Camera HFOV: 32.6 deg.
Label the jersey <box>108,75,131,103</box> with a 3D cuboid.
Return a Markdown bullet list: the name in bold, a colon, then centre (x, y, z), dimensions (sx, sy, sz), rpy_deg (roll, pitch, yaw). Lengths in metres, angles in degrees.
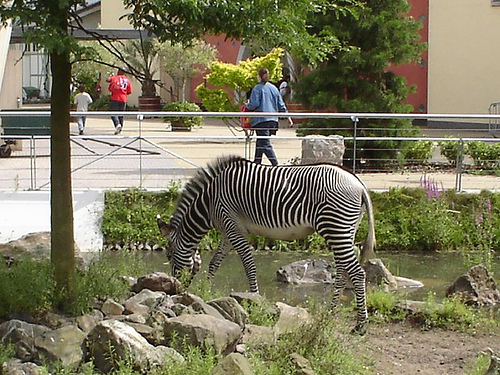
- **jersey**: centre (-3.390, -2.582, 22.603), dimensions (0.549, 0.744, 0.417), rpy_deg (6, -4, -16)

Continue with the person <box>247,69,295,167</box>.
- **person**: centre (0.365, -1.260, 14.963), dimensions (0.704, 1.813, 0.769), rpy_deg (-5, 19, -44)

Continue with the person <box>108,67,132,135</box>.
- **person**: centre (-3.467, -2.317, 22.607), dimensions (0.541, 1.798, 0.750), rpy_deg (8, 10, 14)

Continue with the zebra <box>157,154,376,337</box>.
- **zebra**: centre (0.197, 0.691, 11.666), dimensions (2.786, 2.309, 0.878), rpy_deg (-1, 12, 13)

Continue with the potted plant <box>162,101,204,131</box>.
- **potted plant**: centre (-2.164, -2.232, 26.247), dimensions (1.199, 1.028, 1.322), rpy_deg (-4, 17, -14)
